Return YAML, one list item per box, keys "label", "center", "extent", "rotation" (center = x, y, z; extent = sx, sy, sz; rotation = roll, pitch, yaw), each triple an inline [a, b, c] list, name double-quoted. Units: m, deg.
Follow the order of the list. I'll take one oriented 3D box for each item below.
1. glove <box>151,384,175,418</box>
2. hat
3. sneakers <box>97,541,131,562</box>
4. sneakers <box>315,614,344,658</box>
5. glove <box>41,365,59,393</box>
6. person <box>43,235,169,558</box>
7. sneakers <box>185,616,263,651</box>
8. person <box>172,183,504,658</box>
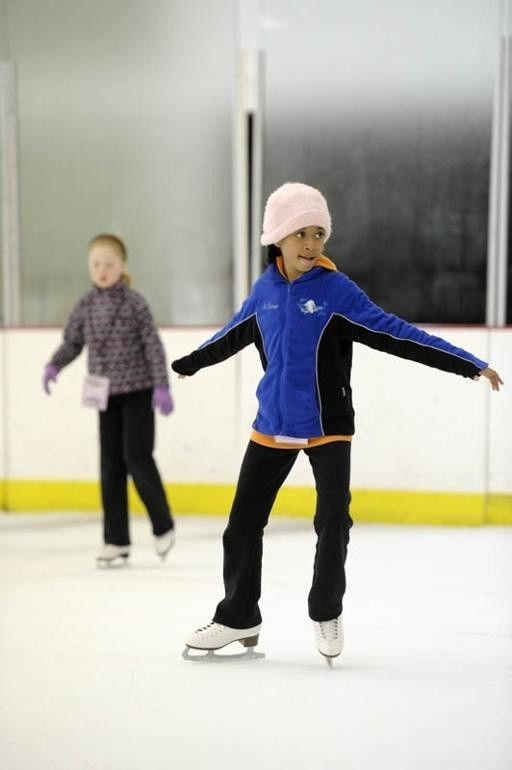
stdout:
- label: "glove"
  center: [-0.350, 0.058, 3.042]
  extent: [0.068, 0.113, 0.122]
  rotation: [-1, 6, -8]
- label: "hat"
  center: [0.098, -0.424, 2.096]
  extent: [0.154, 0.148, 0.163]
  rotation: [-4, 6, -9]
- label: "sneakers"
  center: [-0.554, 0.647, 3.210]
  extent: [0.067, 0.053, 0.125]
  rotation: [-7, -12, 32]
- label: "sneakers"
  center: [0.182, 0.620, 2.050]
  extent: [0.043, 0.055, 0.141]
  rotation: [-7, 7, 2]
- label: "glove"
  center: [-0.873, -0.021, 3.497]
  extent: [0.076, 0.130, 0.034]
  rotation: [32, 26, 34]
- label: "person"
  center: [-0.498, 0.073, 3.093]
  extent: [0.352, 1.265, 0.257]
  rotation: [-1, 6, -7]
- label: "sneakers"
  center: [-0.092, 0.646, 2.174]
  extent: [0.231, 0.098, 0.078]
  rotation: [2, -1, -4]
- label: "person"
  center: [0.389, 0.137, 3.076]
  extent: [1.421, 1.738, 0.513]
  rotation: [-10, -20, 37]
